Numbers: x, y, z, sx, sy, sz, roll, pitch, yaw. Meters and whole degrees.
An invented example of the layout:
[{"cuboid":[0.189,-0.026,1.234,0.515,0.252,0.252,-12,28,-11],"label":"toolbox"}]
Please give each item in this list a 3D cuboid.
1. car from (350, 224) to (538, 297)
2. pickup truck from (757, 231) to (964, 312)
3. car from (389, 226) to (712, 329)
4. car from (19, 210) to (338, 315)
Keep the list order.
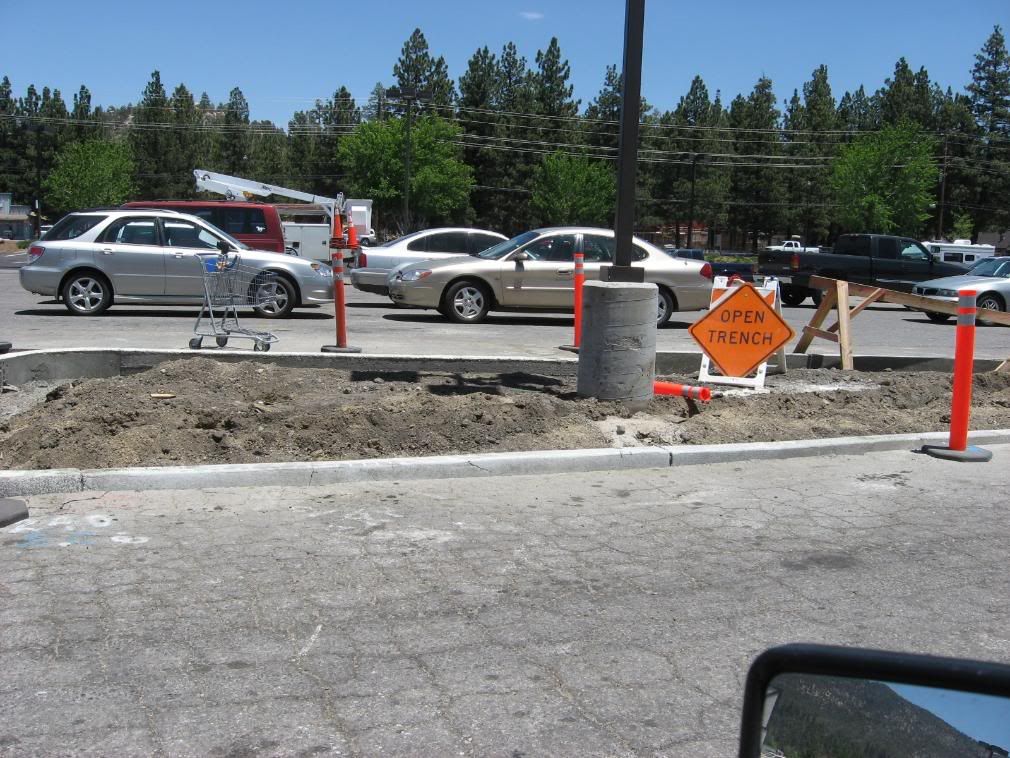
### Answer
[{"cuboid":[-1.141,-2.631,20.299,4.551,1.488,1.764,-2,12,-21],"label":"car"},{"cuboid":[9.617,-2.746,24.447,6.382,2.124,2.823,0,7,-19],"label":"pickup truck"},{"cuboid":[0.881,-1.817,16.580,5.753,1.734,2.316,2,5,-4],"label":"car"},{"cuboid":[-5.551,-1.941,16.348,5.283,1.690,2.030,1,1,-3],"label":"car"}]
